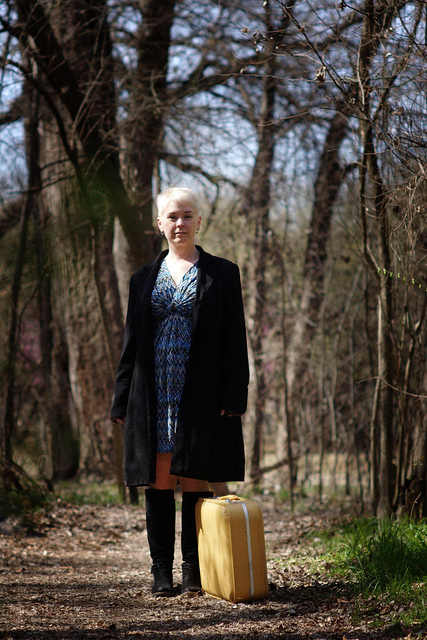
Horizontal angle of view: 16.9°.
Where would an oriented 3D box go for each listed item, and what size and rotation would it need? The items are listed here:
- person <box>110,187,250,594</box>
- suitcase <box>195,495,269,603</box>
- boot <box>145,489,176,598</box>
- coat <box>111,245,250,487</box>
[{"bbox_3d":[-0.159,0.328,7.030,0.668,1.922,0.470,-4,4,-5],"label":"person"},{"bbox_3d":[0.080,1.104,6.848,0.339,0.486,0.227,-3,4,10],"label":"suitcase"},{"bbox_3d":[-0.247,1.082,6.962,0.149,0.487,0.219,2,-1,-5],"label":"boot"},{"bbox_3d":[-0.150,0.215,7.032,0.511,1.170,0.364,1,-6,8],"label":"coat"}]
